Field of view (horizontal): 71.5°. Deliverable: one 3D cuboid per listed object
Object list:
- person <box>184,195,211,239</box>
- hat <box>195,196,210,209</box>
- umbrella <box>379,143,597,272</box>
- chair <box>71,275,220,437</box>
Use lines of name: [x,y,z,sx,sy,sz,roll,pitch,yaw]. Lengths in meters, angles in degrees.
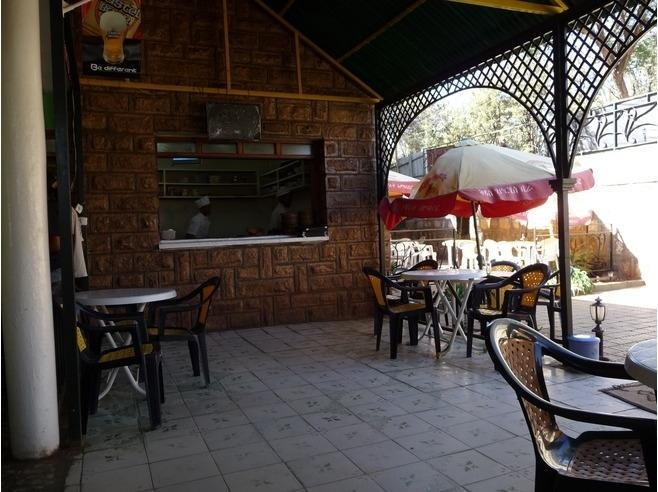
person: [-2.439,-0.543,8.496,0.397,0.788,0.998,-3,3,-13]
hat: [-2.423,-0.831,8.690,0.303,0.204,0.257,-10,6,-17]
umbrella: [2.084,-0.582,6.140,2.902,1.669,2.020,-1,2,11]
chair: [-1.721,0.862,4.302,1.322,1.544,1.210,3,3,-4]
